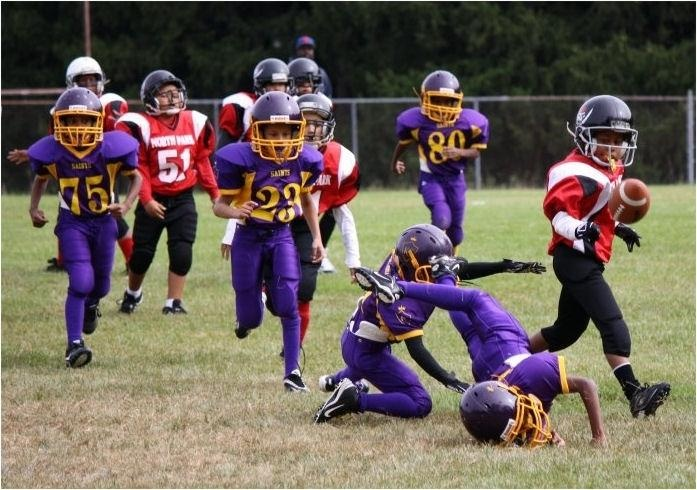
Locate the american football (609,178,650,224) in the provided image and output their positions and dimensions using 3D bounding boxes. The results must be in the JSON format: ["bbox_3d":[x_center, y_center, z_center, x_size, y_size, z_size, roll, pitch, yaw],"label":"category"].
[{"bbox_3d":[2.443,-0.378,9.951,0.335,0.403,0.191,3,9,15],"label":"american football"}]

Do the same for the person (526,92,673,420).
[{"bbox_3d":[2.255,0.057,10.126,1.015,2.710,1.309,-1,3,-40],"label":"person"}]

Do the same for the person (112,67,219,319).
[{"bbox_3d":[-1.951,-0.518,12.135,0.941,2.634,1.176,-1,2,-29],"label":"person"}]

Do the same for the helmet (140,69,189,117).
[{"bbox_3d":[-1.913,-1.585,11.883,0.442,0.447,0.349,-1,9,-12],"label":"helmet"}]

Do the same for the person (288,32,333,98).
[{"bbox_3d":[-0.644,-2.565,17.824,0.528,1.423,0.452,-3,4,-10],"label":"person"}]

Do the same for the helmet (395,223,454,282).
[{"bbox_3d":[0.636,0.069,9.921,0.501,0.510,0.403,3,2,-6],"label":"helmet"}]
